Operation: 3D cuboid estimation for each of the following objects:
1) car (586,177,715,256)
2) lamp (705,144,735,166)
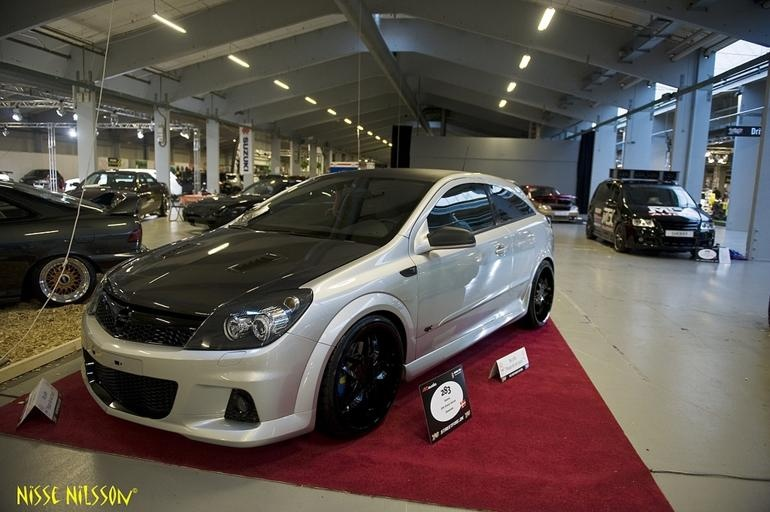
[{"bbox_3d":[6.274,-1.022,10.955,1.612,1.245,2.901,0,4,4],"label":"car"},{"bbox_3d":[13.962,-4.235,18.474,0.740,0.802,1.824,5,11,13],"label":"lamp"}]
